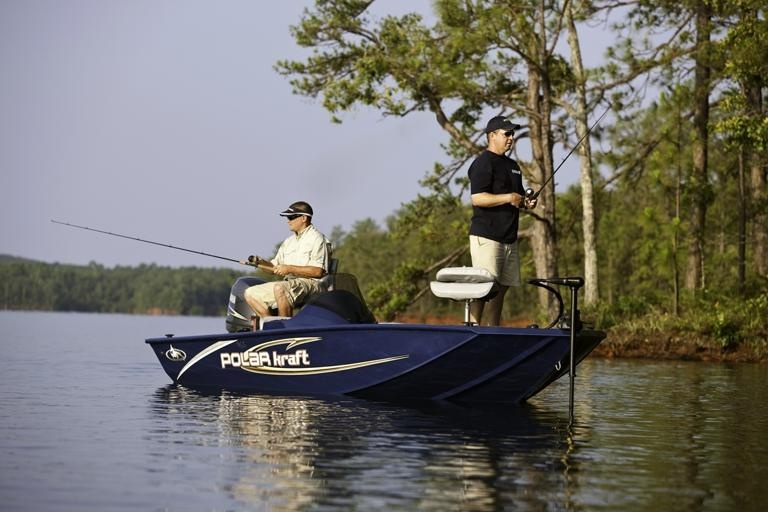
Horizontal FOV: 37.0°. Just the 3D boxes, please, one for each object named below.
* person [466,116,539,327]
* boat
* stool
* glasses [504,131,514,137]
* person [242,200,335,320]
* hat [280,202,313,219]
[{"bbox_3d":[1.740,-0.363,16.672,1.036,3.353,1.184,0,-2,45],"label":"person"},{"bbox_3d":[-0.371,1.687,17.758,6.515,1.128,2.289,-2,-10,17],"label":"boat"},{"bbox_3d":[1.144,0.503,15.944,0.789,0.743,0.738,2,7,14],"label":"stool"},{"bbox_3d":[1.793,-1.769,16.555,0.131,0.044,0.131,-3,3,-11],"label":"glasses"},{"bbox_3d":[-1.597,0.092,17.868,1.386,2.451,0.815,1,-1,-25],"label":"person"},{"bbox_3d":[-1.351,-0.710,17.591,0.416,0.205,0.295,0,-4,-2],"label":"hat"}]
